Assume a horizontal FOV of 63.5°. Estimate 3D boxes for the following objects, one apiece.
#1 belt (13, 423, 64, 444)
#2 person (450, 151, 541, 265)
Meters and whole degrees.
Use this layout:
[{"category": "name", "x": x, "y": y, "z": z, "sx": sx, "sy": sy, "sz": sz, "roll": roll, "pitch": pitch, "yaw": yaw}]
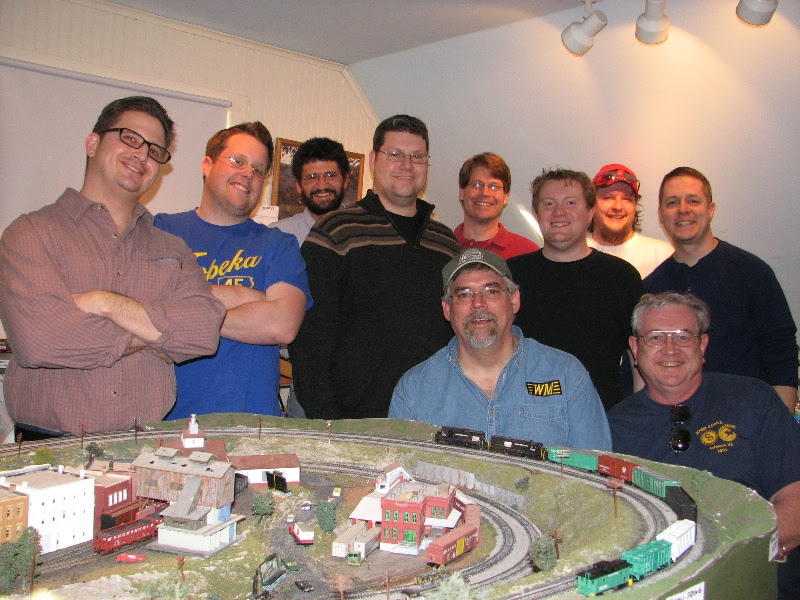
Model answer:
[{"category": "belt", "x": -2.732, "y": 0.965, "z": 4.827, "sx": 0.354, "sy": 0.081, "sz": 0.225, "roll": 11, "pitch": 0, "yaw": 12}, {"category": "person", "x": 1.005, "y": -1.004, "z": 7.779, "sx": 1.547, "sy": 1.429, "sz": 0.766, "roll": 3, "pitch": 2, "yaw": 3}]
